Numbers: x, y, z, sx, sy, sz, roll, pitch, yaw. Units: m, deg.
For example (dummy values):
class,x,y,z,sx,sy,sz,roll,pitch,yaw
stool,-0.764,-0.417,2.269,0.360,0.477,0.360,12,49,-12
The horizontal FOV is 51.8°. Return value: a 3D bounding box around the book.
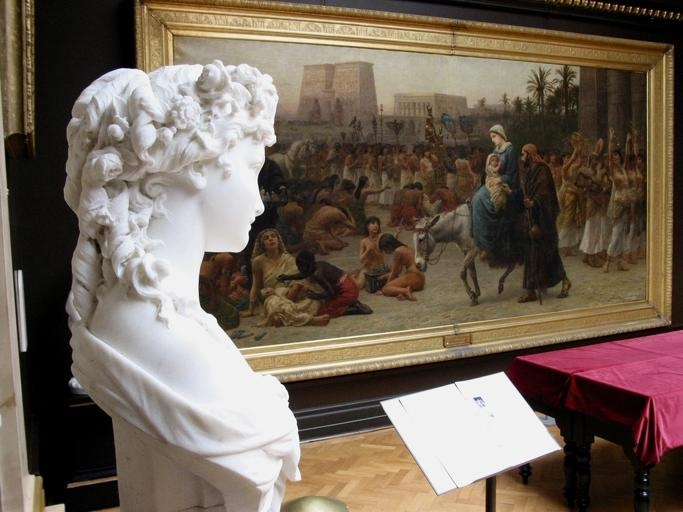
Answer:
class,x,y,z,sx,sy,sz,roll,pitch,yaw
book,0.876,1.183,4.743,1.114,0.533,0.517,-6,14,-25
